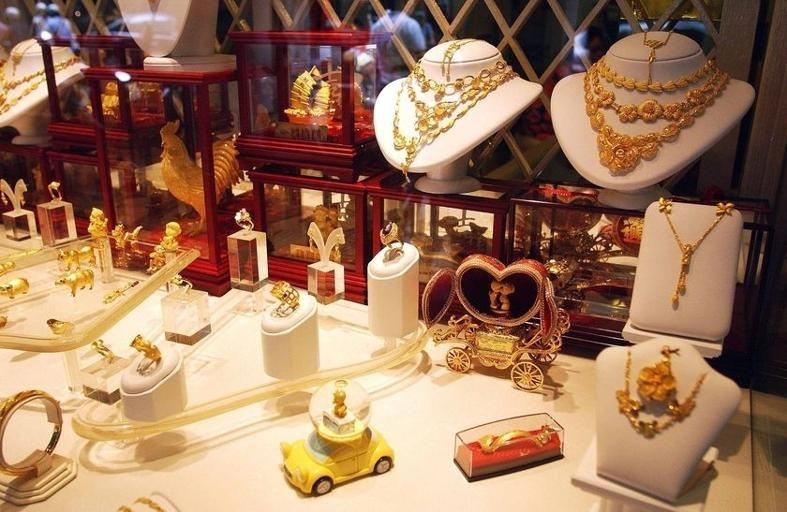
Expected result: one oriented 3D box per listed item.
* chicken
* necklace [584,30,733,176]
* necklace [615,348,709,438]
[{"bbox_3d":[-1.188,-0.475,3.550,0.501,0.619,0.232,-5,18,-33],"label":"chicken"},{"bbox_3d":[1.227,-0.776,2.729,0.632,0.670,0.427,9,25,25],"label":"necklace"},{"bbox_3d":[0.924,0.472,1.999,0.256,0.283,0.174,14,27,30],"label":"necklace"}]
